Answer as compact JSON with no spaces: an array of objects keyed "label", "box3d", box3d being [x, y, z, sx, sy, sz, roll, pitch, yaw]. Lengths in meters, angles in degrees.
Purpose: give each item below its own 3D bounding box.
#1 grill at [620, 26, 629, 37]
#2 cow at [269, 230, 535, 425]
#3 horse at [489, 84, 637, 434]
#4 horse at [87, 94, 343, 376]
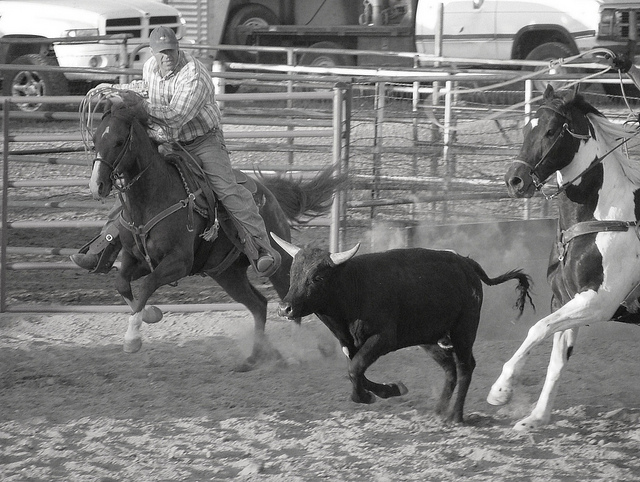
[{"label":"grill","box3d":[4.007,-2.739,10.173,0.101,0.153,0.625,5,14,18]},{"label":"cow","box3d":[0.574,0.654,5.501,2.504,1.113,0.678,12,-8,-37]},{"label":"horse","box3d":[1.674,-0.063,5.131,1.032,1.853,0.652,-4,17,-11]},{"label":"horse","box3d":[-0.874,-0.084,6.373,0.941,2.229,2.003,10,19,33]}]
